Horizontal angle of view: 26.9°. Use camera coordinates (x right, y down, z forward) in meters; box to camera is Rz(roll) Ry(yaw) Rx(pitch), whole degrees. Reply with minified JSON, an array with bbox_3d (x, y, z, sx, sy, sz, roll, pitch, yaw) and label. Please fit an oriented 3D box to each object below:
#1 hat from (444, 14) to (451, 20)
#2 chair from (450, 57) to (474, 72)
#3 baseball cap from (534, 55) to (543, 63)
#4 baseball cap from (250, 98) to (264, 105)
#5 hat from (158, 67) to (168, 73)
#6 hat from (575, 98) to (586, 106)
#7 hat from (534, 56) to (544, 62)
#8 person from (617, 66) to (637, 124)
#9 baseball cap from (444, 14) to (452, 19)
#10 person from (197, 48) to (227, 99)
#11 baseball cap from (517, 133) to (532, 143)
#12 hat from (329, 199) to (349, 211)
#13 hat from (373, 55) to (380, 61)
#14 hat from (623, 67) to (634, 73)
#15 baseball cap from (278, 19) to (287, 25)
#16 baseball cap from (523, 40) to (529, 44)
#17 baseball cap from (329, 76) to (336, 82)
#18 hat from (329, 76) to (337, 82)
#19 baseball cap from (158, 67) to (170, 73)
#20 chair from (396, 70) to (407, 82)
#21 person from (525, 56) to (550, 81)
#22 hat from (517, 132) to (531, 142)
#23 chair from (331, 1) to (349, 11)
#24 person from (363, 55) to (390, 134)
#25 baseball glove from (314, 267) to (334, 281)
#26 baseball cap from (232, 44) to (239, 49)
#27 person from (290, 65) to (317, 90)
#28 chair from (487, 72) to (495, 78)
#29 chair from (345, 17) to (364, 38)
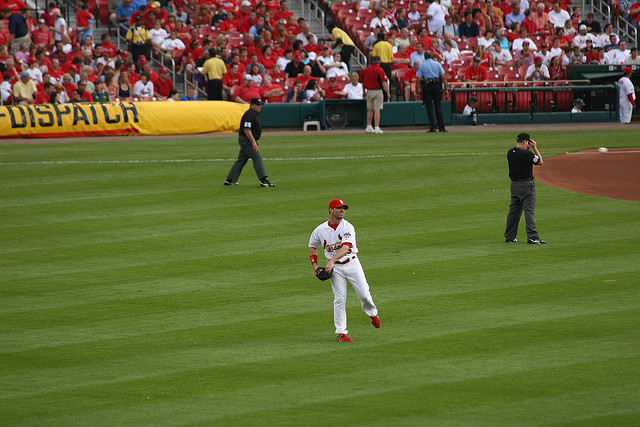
[{"bbox_3d":[4.471,-6.972,47.421,0.237,0.204,0.182,16,36,32],"label":"hat"},{"bbox_3d":[4.799,-5.120,45.683,0.755,0.701,0.595,0,13,-2],"label":"chair"},{"bbox_3d":[7.261,-5.217,44.775,0.237,0.130,0.275,-6,14,-11],"label":"baseball cap"},{"bbox_3d":[-1.628,-2.873,33.995,0.282,0.111,0.173,7,12,10],"label":"baseball cap"},{"bbox_3d":[-5.098,-4.649,43.131,0.326,0.136,0.195,-4,12,-7],"label":"hat"},{"bbox_3d":[8.504,-3.674,43.918,0.254,0.263,0.424,2,12,24],"label":"hat"},{"bbox_3d":[7.274,-5.199,44.751,0.251,0.183,0.307,-2,11,3],"label":"hat"},{"bbox_3d":[10.063,-3.958,44.038,0.503,1.824,0.643,-1,14,10],"label":"person"},{"bbox_3d":[4.480,-7.047,47.452,0.273,0.186,0.263,5,11,35],"label":"baseball cap"},{"bbox_3d":[-3.412,-4.467,42.657,0.743,1.647,0.738,-2,13,6],"label":"person"},{"bbox_3d":[4.753,-1.778,31.158,0.330,0.217,0.508,-1,11,8],"label":"baseball cap"},{"bbox_3d":[0.342,-0.187,27.112,0.344,0.215,0.424,-2,11,0],"label":"hat"},{"bbox_3d":[1.704,-4.799,41.079,0.312,0.112,0.365,2,13,13],"label":"hat"},{"bbox_3d":[10.114,-4.744,43.948,0.302,0.168,0.124,-6,13,-16],"label":"hat"},{"bbox_3d":[-1.360,-6.700,46.488,0.356,0.152,0.304,2,-6,10],"label":"baseball cap"},{"bbox_3d":[6.938,-5.855,45.398,0.201,0.153,0.189,10,16,30],"label":"baseball cap"},{"bbox_3d":[0.373,-4.332,43.035,0.198,0.143,0.288,-3,11,-3],"label":"baseball cap"},{"bbox_3d":[0.377,-4.361,43.123,0.333,0.118,0.437,0,3,-5],"label":"hat"},{"bbox_3d":[-5.110,-4.676,43.174,0.406,0.160,0.243,7,11,-7],"label":"baseball cap"},{"bbox_3d":[2.696,-4.610,44.651,0.342,0.406,0.510,-3,11,1],"label":"chair"},{"bbox_3d":[7.274,-4.913,44.898,0.802,0.764,0.567,-2,12,6],"label":"person"},{"bbox_3d":[4.763,-1.765,31.132,0.293,0.197,0.411,11,24,36],"label":"hat"},{"bbox_3d":[0.727,-7.576,48.578,0.490,0.383,0.472,-2,-3,11],"label":"chair"},{"bbox_3d":[1.687,-3.652,41.024,0.732,2.380,0.959,-3,13,2],"label":"person"},{"bbox_3d":[0.075,1.219,26.964,0.373,0.261,0.243,-2,12,2],"label":"baseball glove"},{"bbox_3d":[-2.880,-5.653,45.000,0.314,0.100,0.300,-1,3,-4],"label":"baseball cap"},{"bbox_3d":[-0.580,-4.440,43.383,0.867,0.759,0.616,-5,12,-11],"label":"person"},{"bbox_3d":[5.671,-4.651,44.808,0.366,0.255,0.156,-1,-5,1],"label":"chair"},{"bbox_3d":[1.194,-6.695,48.147,0.990,0.791,0.774,0,-3,-2],"label":"chair"}]
